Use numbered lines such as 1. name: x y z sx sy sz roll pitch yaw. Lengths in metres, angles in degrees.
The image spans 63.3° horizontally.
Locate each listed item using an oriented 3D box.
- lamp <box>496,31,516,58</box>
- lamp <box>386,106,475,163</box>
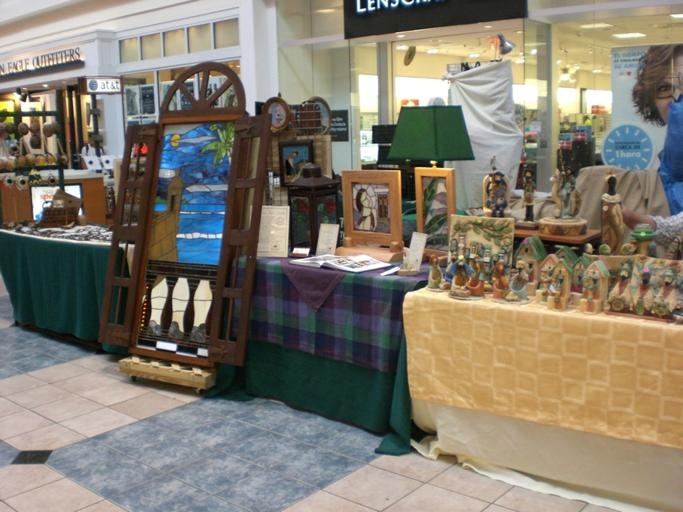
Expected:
1. lamp: 2.098 -2.696 7.092 0.108 0.291 0.264 -10 15 -32
2. lamp: 0.608 -0.872 3.968 0.642 0.356 0.576 -4 14 -17
